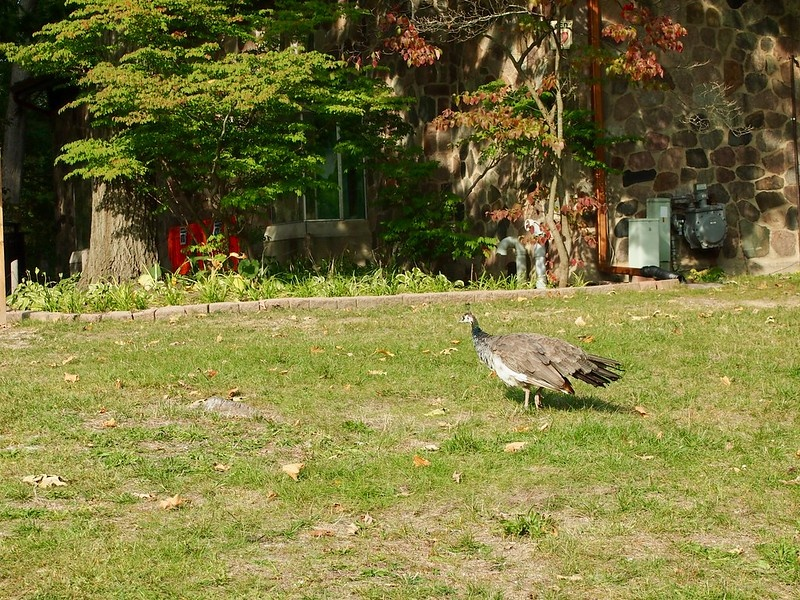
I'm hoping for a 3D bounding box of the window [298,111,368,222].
[{"bbox_3d":[-1.346,-2.596,25.857,0.157,2.428,1.857,-1,-1,43],"label":"window"}]
